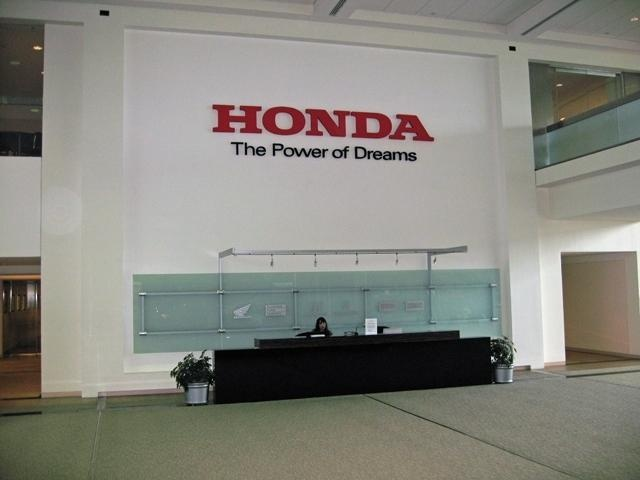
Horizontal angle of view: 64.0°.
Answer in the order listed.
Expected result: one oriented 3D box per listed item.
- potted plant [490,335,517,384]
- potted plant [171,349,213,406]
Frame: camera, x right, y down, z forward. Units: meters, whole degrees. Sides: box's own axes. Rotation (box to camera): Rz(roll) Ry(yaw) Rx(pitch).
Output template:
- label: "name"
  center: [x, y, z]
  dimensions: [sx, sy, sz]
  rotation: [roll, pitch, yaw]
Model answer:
- label: "potted plant"
  center: [3.710, 2.427, 10.446]
  dimensions: [0.425, 0.850, 0.608]
  rotation: [-2, -3, 21]
- label: "potted plant"
  center: [-2.168, 2.546, 9.503]
  dimensions: [0.825, 1.043, 0.845]
  rotation: [0, -11, 1]
